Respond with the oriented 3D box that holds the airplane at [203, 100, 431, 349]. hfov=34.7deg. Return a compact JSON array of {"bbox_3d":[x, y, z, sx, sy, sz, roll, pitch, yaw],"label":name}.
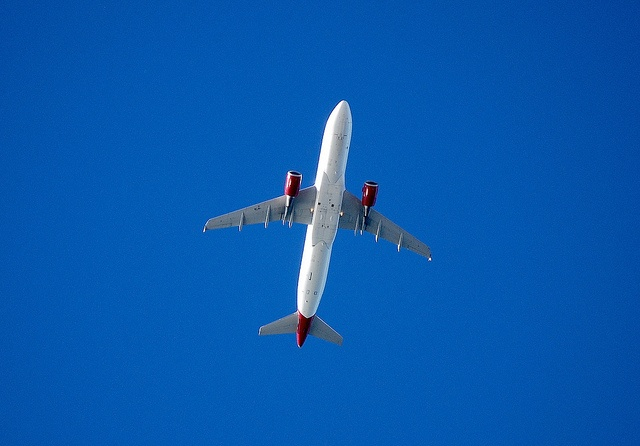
[{"bbox_3d":[0.206,-0.504,83.908,17.283,20.484,4.579,5,17,-11],"label":"airplane"}]
